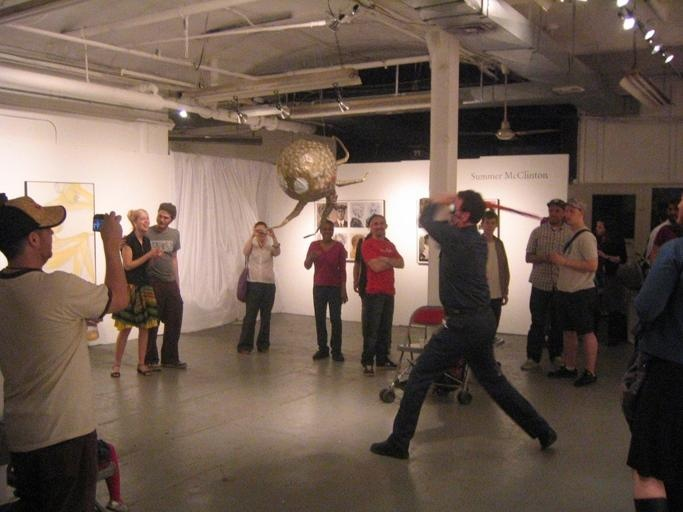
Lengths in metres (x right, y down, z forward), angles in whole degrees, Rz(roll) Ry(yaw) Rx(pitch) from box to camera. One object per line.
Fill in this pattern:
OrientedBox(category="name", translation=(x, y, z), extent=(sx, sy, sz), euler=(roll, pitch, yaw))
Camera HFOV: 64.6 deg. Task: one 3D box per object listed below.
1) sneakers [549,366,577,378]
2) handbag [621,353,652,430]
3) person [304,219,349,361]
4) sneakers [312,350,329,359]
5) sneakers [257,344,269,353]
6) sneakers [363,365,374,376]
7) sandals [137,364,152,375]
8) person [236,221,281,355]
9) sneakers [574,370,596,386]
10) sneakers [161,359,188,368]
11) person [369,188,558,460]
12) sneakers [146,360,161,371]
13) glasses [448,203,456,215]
OrientedBox(category="sneakers", translation=(2.851, 1.515, 7.057), extent=(0.418, 0.190, 0.155), euler=(2, -1, 6))
OrientedBox(category="handbag", translation=(1.834, 0.810, 3.386), extent=(0.127, 0.503, 0.137), euler=(9, -25, 28))
OrientedBox(category="person", translation=(-0.217, 0.485, 7.981), extent=(0.660, 2.043, 0.482), euler=(2, 5, 27))
OrientedBox(category="sneakers", translation=(-0.310, 1.463, 8.013), extent=(0.261, 0.113, 0.095), euler=(8, -11, -34))
OrientedBox(category="sneakers", translation=(-1.217, 1.436, 8.379), extent=(0.092, 0.129, 0.185), euler=(4, -11, -29))
OrientedBox(category="sneakers", translation=(0.350, 1.509, 7.121), extent=(0.116, 0.100, 0.297), euler=(0, -5, -2))
OrientedBox(category="sandals", translation=(-2.645, 1.523, 7.249), extent=(0.102, 0.114, 0.281), euler=(-1, -6, -35))
OrientedBox(category="person", translation=(-1.303, 0.512, 8.410), extent=(0.658, 1.939, 0.441), euler=(-1, 5, -12))
OrientedBox(category="sneakers", translation=(2.964, 1.520, 6.704), extent=(0.392, 0.170, 0.142), euler=(4, -9, -34))
OrientedBox(category="sneakers", translation=(-2.354, 1.500, 7.598), extent=(0.317, 0.121, 0.129), euler=(-1, -2, 0))
OrientedBox(category="person", translation=(1.015, 0.595, 4.729), extent=(1.458, 2.342, 0.379), euler=(-1, 5, -7))
OrientedBox(category="sneakers", translation=(-2.511, 1.505, 7.354), extent=(0.243, 0.176, 0.081), euler=(-1, -2, 8))
OrientedBox(category="glasses", translation=(0.981, -0.428, 4.808), extent=(0.052, 0.069, 0.076), euler=(0, -13, 10))
